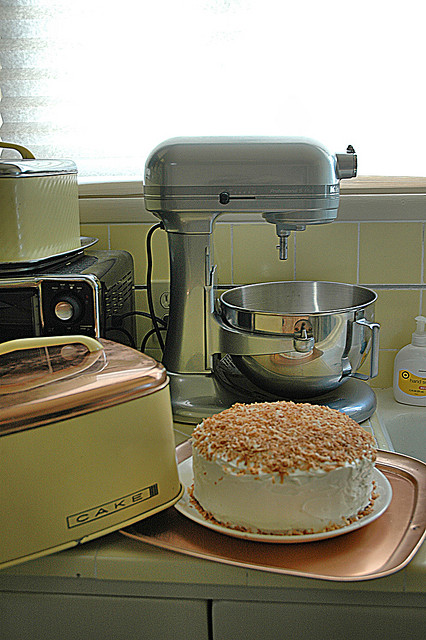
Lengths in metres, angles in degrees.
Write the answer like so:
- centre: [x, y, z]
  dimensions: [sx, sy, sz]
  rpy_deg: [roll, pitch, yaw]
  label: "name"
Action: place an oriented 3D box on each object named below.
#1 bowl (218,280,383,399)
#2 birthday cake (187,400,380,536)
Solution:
- centre: [0.122, 0.030, 0.748]
  dimensions: [0.196, 0.119, 0.189]
  rpy_deg: [-2, 10, 0]
  label: "bowl"
- centre: [0.054, 0.128, 0.472]
  dimensions: [0.162, 0.076, 0.099]
  rpy_deg: [3, 15, 15]
  label: "birthday cake"
